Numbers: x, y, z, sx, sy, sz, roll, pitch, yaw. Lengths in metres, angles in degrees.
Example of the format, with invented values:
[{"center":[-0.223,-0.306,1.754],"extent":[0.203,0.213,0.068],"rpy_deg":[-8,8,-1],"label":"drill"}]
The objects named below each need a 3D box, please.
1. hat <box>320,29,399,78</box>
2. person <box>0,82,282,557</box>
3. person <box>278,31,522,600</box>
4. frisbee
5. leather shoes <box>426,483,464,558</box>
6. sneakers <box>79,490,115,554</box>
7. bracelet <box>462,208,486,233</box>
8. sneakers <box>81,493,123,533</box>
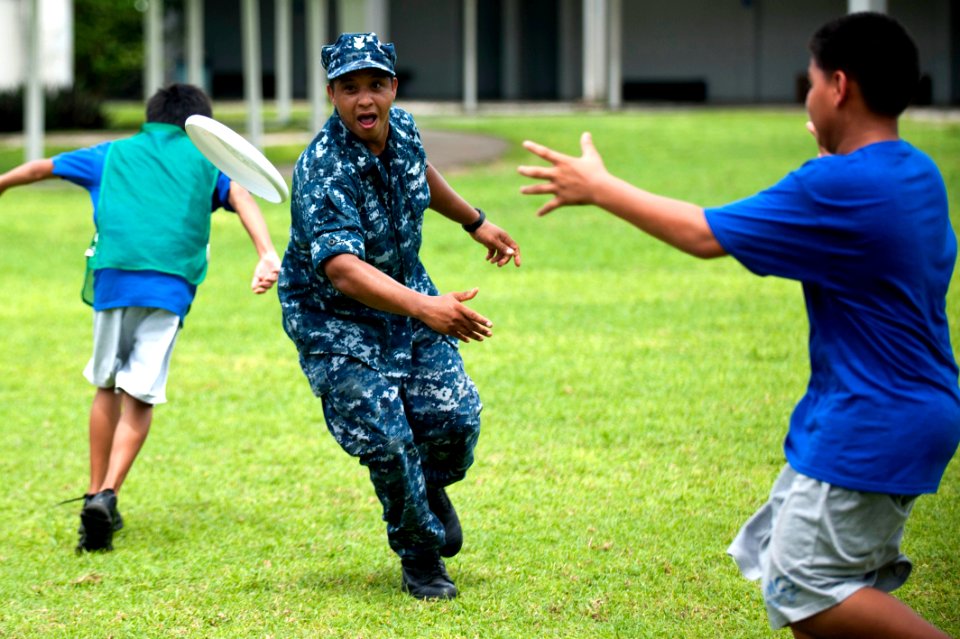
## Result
[{"center":[-0.564,-1.216,6.709],"extent":[0.339,0.207,0.230],"rpy_deg":[-1,10,-7],"label":"hat"},{"center":[-1.757,-0.029,7.612],"extent":[1.216,2.376,0.781],"rpy_deg":[-2,11,-16],"label":"person"},{"center":[-0.453,-0.006,6.915],"extent":[0.930,2.663,1.011],"rpy_deg":[-3,11,-18],"label":"person"},{"center":[-1.263,-0.818,7.452],"extent":[0.484,0.446,0.471],"rpy_deg":[-2,10,-13],"label":"frisbee"},{"center":[-0.146,0.990,7.267],"extent":[0.142,0.361,0.150],"rpy_deg":[-23,-1,2],"label":"leather shoes"},{"center":[-1.945,1.027,7.462],"extent":[0.159,0.313,0.157],"rpy_deg":[10,26,8],"label":"sneakers"},{"center":[-0.048,-0.511,7.470],"extent":[0.055,0.110,0.125],"rpy_deg":[42,-16,-6],"label":"bracelet"},{"center":[-1.955,1.016,7.490],"extent":[0.136,0.260,0.129],"rpy_deg":[17,51,4],"label":"sneakers"}]
